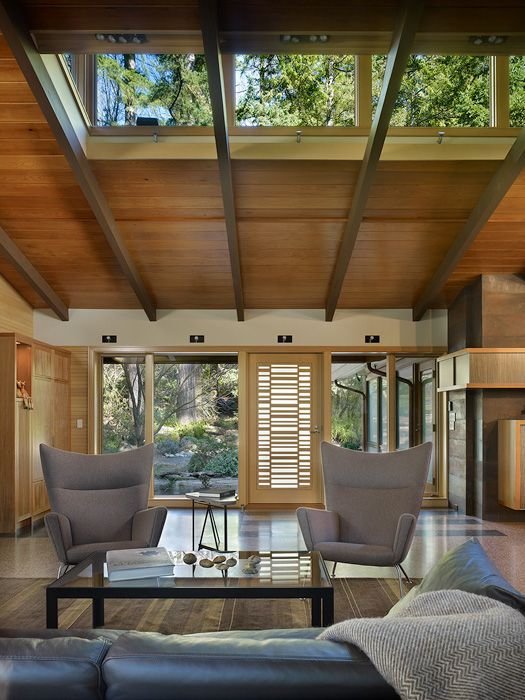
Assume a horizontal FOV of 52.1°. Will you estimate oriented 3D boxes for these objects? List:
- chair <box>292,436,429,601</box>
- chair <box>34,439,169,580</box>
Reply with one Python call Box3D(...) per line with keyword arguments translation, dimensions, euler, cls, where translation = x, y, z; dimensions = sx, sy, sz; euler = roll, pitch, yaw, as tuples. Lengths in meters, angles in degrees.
Box3D(translation=(0.705, 1.176, 3.745), dimensions=(1.063, 1.163, 0.990), euler=(-4, -21, 20), cls="chair")
Box3D(translation=(-1.062, 1.056, 3.523), dimensions=(0.777, 0.877, 0.771), euler=(1, -14, -18), cls="chair")
